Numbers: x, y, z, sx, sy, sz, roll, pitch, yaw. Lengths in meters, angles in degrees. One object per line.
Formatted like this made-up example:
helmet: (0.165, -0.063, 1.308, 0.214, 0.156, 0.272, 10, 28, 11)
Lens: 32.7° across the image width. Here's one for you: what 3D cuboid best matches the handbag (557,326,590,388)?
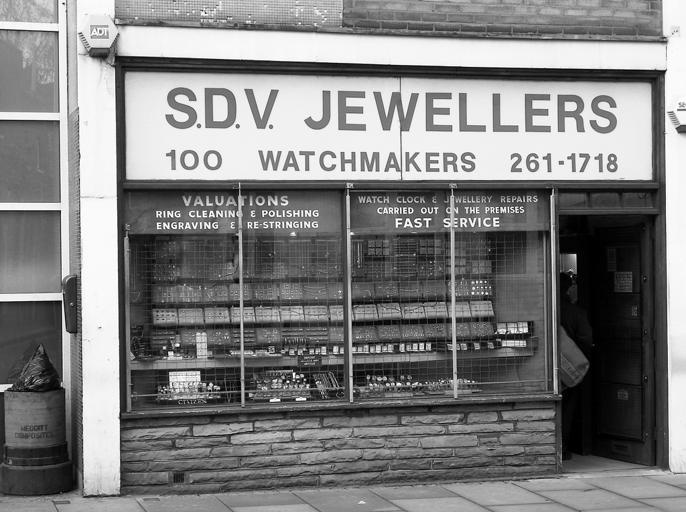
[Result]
handbag: (2.762, 1.214, 14.209, 0.345, 0.453, 0.643, -35, 9, 9)
